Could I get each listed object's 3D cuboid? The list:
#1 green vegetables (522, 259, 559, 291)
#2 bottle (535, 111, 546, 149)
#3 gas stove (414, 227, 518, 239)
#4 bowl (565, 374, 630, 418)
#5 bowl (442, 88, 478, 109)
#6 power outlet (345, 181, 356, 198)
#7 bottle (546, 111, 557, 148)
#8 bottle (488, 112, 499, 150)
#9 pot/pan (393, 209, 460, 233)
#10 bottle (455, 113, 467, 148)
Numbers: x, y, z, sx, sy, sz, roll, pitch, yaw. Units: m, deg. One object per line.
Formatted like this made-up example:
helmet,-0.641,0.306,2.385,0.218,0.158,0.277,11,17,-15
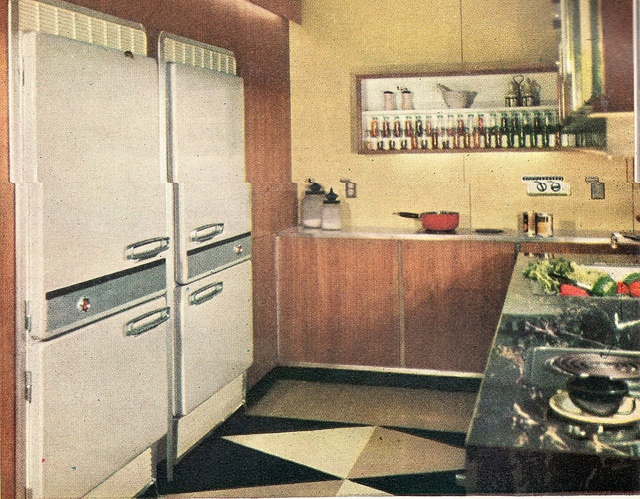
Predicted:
green vegetables,1.044,0.128,3.141,0.112,0.079,0.286,-1,6,10
bottle,1.529,-0.827,4.604,0.077,0.237,0.100,1,9,16
gas stove,0.997,-0.106,4.574,0.674,0.030,0.482,0,10,9
bowl,0.764,0.400,1.814,0.129,0.073,0.121,1,-1,0
bowl,0.981,-1.067,4.726,0.149,0.080,0.223,2,9,27
power outlet,0.239,-0.459,5.116,0.095,0.122,0.027,0,9,9
bottle,1.602,-0.830,4.597,0.089,0.245,0.091,-2,9,0
bottle,1.234,-0.848,4.697,0.073,0.233,0.056,0,9,10
pot/pan,0.757,-0.195,4.692,0.347,0.093,0.189,1,3,37
bottle,1.016,-0.840,4.736,0.074,0.239,0.104,0,9,11
